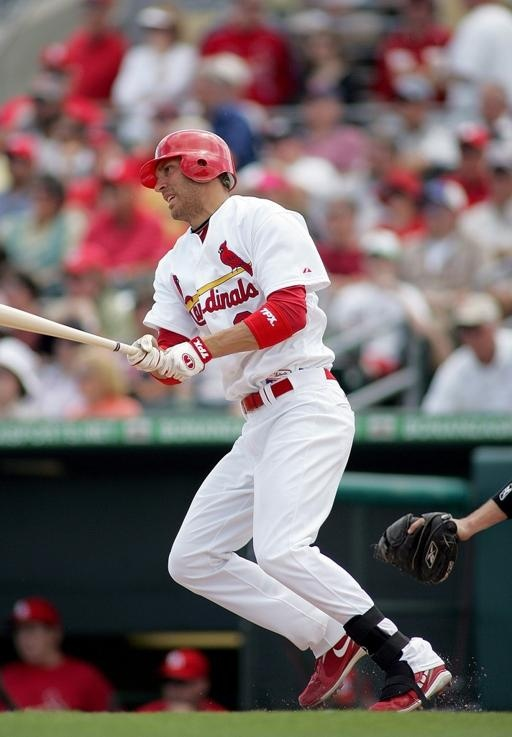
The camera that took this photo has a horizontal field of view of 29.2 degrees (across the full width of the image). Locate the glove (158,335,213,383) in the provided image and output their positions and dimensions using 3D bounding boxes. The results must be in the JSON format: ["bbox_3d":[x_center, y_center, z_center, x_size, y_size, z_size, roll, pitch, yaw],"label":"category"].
[{"bbox_3d":[-0.174,-0.025,2.442,0.155,0.045,0.076,-19,62,-4],"label":"glove"}]

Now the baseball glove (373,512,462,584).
[{"bbox_3d":[0.462,0.438,2.477,0.236,0.187,0.155,4,10,-31],"label":"baseball glove"}]

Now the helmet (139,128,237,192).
[{"bbox_3d":[-0.187,-0.563,2.703,0.254,0.168,0.122,3,64,-4],"label":"helmet"}]
